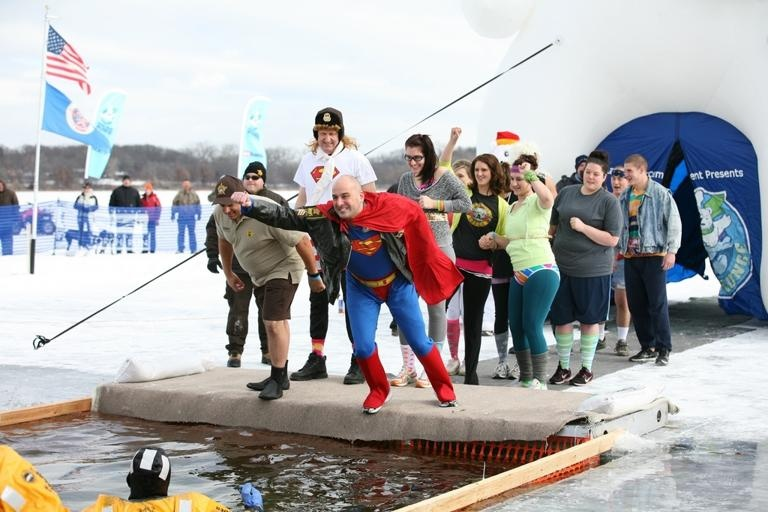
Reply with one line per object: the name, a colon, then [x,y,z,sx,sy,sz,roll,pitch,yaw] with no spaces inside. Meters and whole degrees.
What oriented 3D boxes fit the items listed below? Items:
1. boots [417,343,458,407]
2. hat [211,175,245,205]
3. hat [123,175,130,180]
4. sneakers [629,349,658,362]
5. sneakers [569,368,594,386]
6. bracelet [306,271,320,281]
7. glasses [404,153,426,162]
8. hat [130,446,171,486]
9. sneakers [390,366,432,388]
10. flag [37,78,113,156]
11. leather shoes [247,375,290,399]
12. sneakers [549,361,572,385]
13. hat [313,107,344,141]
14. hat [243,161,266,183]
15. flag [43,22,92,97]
boots: [0.397,1.015,7.518,0.226,0.423,0.663,15,0,-4]
hat: [-1.371,-0.541,7.544,0.252,0.185,0.338,-2,23,25]
hat: [-6.299,-1.910,21.011,0.168,0.106,0.163,2,5,24]
sneakers: [3.045,1.160,10.066,0.393,0.131,0.129,0,-5,-23]
sneakers: [2.058,1.257,8.960,0.122,0.121,0.295,0,0,34]
bracelet: [-0.670,0.185,8.011,0.090,0.042,0.070,3,6,31]
glasses: [0.293,-0.937,8.270,0.197,0.056,0.100,2,0,2]
hat: [-1.498,1.305,5.428,0.211,0.235,0.258,7,-7,3]
sneakers: [0.224,1.175,8.333,0.442,0.174,0.148,11,-18,-30]
flag: [-7.481,-3.397,20.965,0.180,1.425,2.074,-1,-5,33]
leather shoes: [-1.024,1.199,7.903,0.205,0.096,0.262,7,-8,16]
sneakers: [1.854,1.258,9.104,0.122,0.136,0.332,-4,-5,32]
hat: [-0.470,-1.268,8.400,0.290,0.245,0.264,2,-5,15]
hat: [-1.380,-0.931,9.438,0.250,0.206,0.231,11,-11,43]
flag: [-7.567,-4.696,20.635,0.950,1.657,1.135,3,-1,-17]
